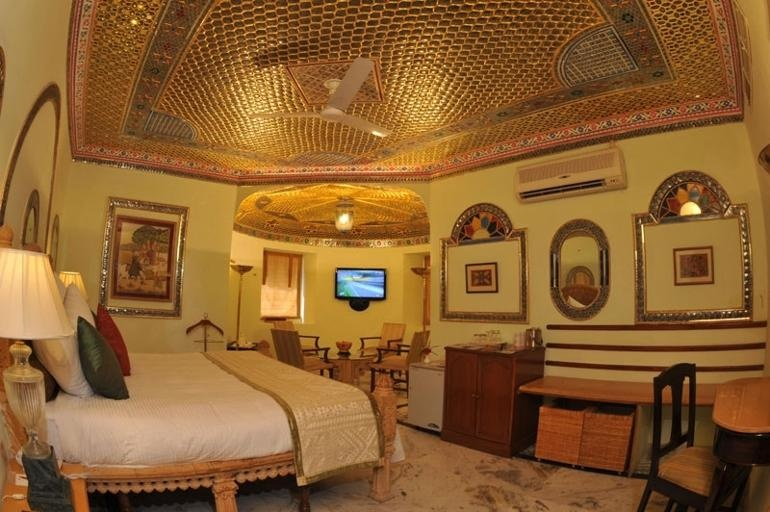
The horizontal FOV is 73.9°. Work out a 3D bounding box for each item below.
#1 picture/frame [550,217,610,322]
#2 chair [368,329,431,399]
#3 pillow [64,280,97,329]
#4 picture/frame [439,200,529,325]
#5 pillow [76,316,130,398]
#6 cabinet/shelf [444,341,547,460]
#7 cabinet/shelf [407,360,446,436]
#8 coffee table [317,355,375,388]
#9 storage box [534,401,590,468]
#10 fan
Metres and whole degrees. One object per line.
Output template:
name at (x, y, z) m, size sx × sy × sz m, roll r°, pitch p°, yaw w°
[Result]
picture/frame at (2.347, 0.159, 6.189) m, size 0.702 × 1.213 × 0.236 m, roll 4°, pitch 5°, yaw 24°
chair at (0.154, 1.703, 8.471) m, size 0.922 × 0.960 × 0.844 m, roll 1°, pitch 1°, yaw -21°
pillow at (-2.889, 0.452, 4.855) m, size 0.169 × 0.393 × 0.425 m, roll -14°, pitch 9°, yaw -11°
picture/frame at (1.377, 0.111, 6.886) m, size 1.830 × 2.045 × 0.089 m, roll -3°, pitch -6°, yaw 40°
pillow at (-2.423, 0.854, 4.323) m, size 0.408 × 0.624 × 0.752 m, roll 4°, pitch -7°, yaw -30°
cabinet/shelf at (1.328, 1.744, 6.246) m, size 0.998 × 1.101 × 0.887 m, roll -4°, pitch -11°, yaw 44°
cabinet/shelf at (0.720, 1.807, 6.708) m, size 0.796 × 0.774 × 0.763 m, roll 2°, pitch 0°, yaw 6°
coffee table at (-0.655, 2.116, 9.020) m, size 0.818 × 0.475 × 0.781 m, roll 0°, pitch -1°, yaw -19°
storage box at (1.838, 1.914, 5.482) m, size 0.529 × 0.690 × 0.767 m, roll 2°, pitch -9°, yaw 28°
fan at (-0.403, -1.527, 4.950) m, size 0.857 × 0.267 × 0.849 m, roll -4°, pitch -14°, yaw 32°
